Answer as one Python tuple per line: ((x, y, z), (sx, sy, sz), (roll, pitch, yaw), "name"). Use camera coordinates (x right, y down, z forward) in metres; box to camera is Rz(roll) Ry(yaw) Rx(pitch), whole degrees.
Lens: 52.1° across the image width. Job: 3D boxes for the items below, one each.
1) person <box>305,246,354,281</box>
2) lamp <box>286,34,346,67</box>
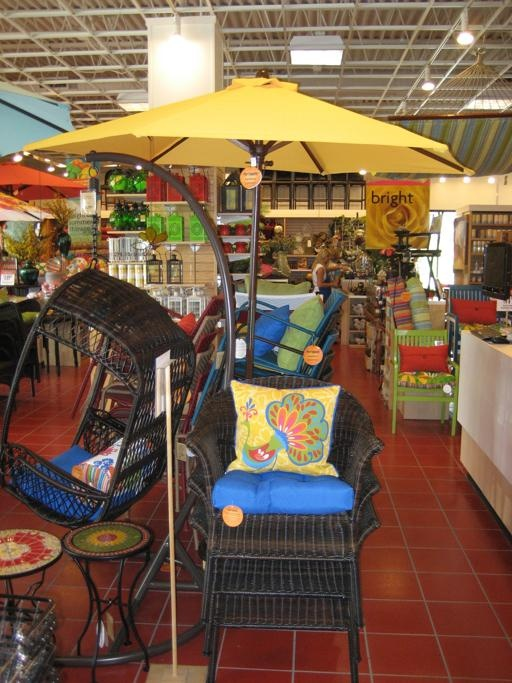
((1.274, -1.322, 8.764), (0.712, 0.692, 1.059), (-2, 10, -5), "person")
((0.786, -3.810, 6.833), (0.662, 0.217, 0.507), (2, 5, 8), "lamp")
